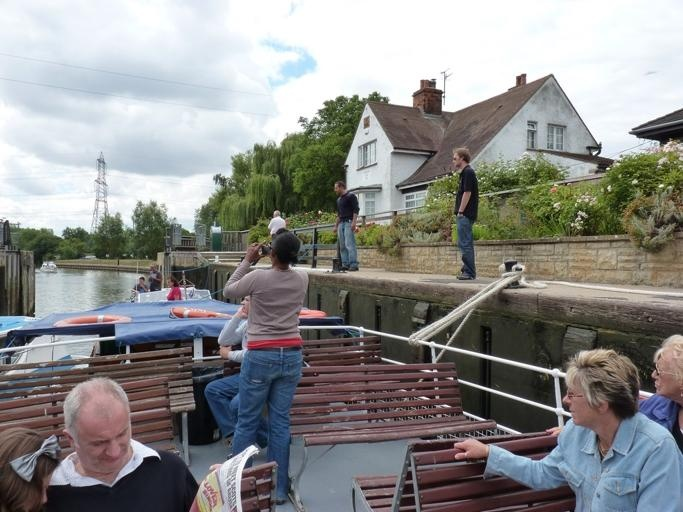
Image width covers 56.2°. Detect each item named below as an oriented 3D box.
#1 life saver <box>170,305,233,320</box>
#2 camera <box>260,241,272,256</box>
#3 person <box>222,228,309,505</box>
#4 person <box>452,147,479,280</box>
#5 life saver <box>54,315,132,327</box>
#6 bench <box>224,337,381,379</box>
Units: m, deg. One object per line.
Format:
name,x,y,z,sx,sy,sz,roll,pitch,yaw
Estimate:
life saver,-1.568,0.626,6.912,0.444,0.088,0.296,4,-1,-2
camera,-0.632,-0.066,5.353,0.119,0.133,0.095,2,-2,-8
person,-0.567,0.894,5.071,0.625,2.077,0.253,-1,0,-12
person,1.723,-0.563,8.841,0.298,1.576,0.608,-1,0,10
life saver,-2.586,0.680,6.722,0.327,0.048,0.389,1,1,39
bench,-0.511,1.032,6.231,1.656,0.405,0.322,-2,-21,1
